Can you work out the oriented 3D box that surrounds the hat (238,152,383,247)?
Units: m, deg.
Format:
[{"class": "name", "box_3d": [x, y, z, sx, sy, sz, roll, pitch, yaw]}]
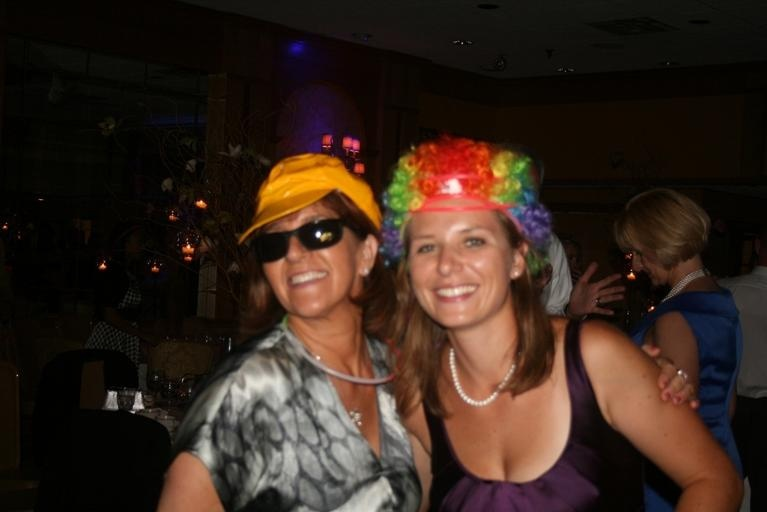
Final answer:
[{"class": "hat", "box_3d": [-0.398, -0.318, 3.664, 0.664, 0.356, 0.481, -3, -27, -41]}]
